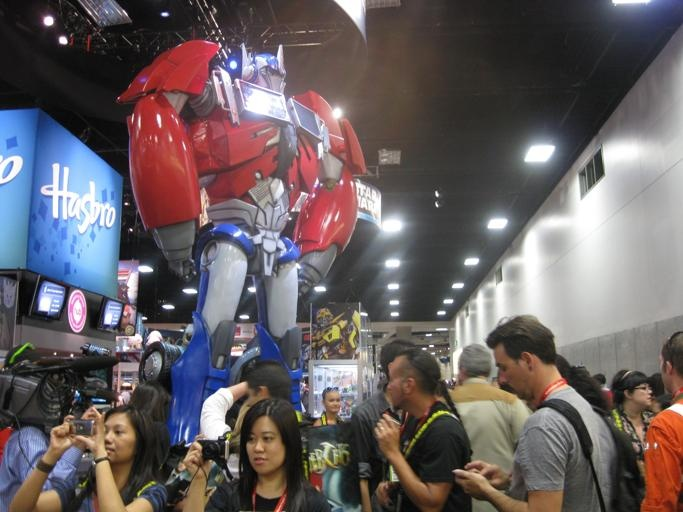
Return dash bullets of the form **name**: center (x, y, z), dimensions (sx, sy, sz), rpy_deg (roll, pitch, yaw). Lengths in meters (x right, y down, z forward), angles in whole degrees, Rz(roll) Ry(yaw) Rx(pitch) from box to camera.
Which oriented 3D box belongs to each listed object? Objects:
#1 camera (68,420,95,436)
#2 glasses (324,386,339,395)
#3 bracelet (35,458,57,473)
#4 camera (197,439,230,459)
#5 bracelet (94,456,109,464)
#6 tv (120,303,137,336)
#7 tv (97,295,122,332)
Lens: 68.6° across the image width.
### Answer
- **camera**: center (-1.156, 0.764, 2.229), dimensions (0.105, 0.066, 0.030), rpy_deg (2, -18, -3)
- **glasses**: center (-0.118, 1.423, 5.368), dimensions (0.094, 0.080, 0.134), rpy_deg (0, -37, -10)
- **bracelet**: center (-1.396, 0.977, 2.359), dimensions (0.073, 0.050, 0.076), rpy_deg (28, -16, 4)
- **camera**: center (-0.550, 0.821, 2.134), dimensions (0.128, 0.087, 0.055), rpy_deg (4, -18, -9)
- **bracelet**: center (-1.078, 0.910, 2.236), dimensions (0.078, 0.033, 0.045), rpy_deg (-7, -21, 21)
- **tv**: center (-4.746, 1.333, 11.226), dimensions (0.262, 0.818, 1.612), rpy_deg (8, -21, -20)
- **tv**: center (-4.599, 1.138, 9.920), dimensions (0.194, 0.648, 0.616), rpy_deg (1, -16, 10)
